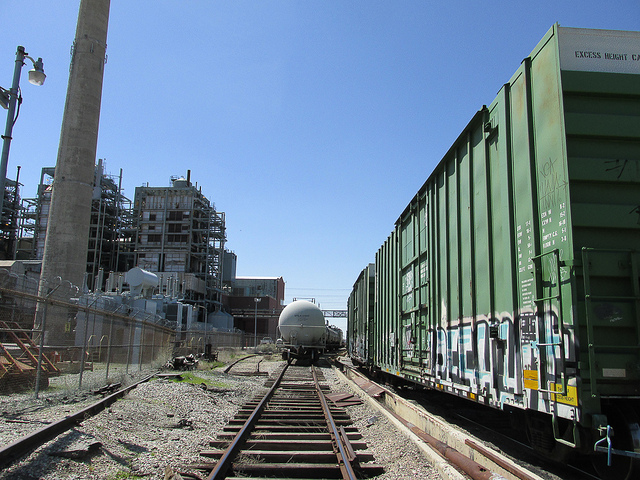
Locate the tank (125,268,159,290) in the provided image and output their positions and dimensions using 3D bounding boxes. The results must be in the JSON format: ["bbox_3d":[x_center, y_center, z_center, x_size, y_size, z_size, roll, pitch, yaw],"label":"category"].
[{"bbox_3d":[-14.205,3.142,34.775,1.316,1.575,2.174,-3,-13,27],"label":"tank"}]

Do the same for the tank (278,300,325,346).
[{"bbox_3d":[-1.130,6.168,30.674,3.611,4.588,5.987,3,-5,3],"label":"tank"}]

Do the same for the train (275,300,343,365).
[{"bbox_3d":[-0.657,7.777,35.729,3.184,5.346,14.640,2,-14,6],"label":"train"}]
